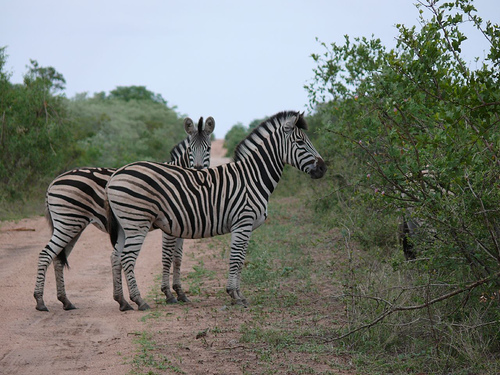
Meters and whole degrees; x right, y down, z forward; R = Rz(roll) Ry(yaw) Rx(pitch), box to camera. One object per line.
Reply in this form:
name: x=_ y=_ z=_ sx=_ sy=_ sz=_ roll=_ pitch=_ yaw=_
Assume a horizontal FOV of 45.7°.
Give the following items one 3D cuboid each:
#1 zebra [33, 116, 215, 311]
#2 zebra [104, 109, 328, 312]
zebra: x=-1.903 y=0.304 z=9.826 sx=2.967 sy=3.318 sz=2.028 roll=7 pitch=6 yaw=-26
zebra: x=-0.538 y=0.409 z=9.524 sx=3.267 sy=3.337 sz=0.998 roll=-1 pitch=1 yaw=-9
